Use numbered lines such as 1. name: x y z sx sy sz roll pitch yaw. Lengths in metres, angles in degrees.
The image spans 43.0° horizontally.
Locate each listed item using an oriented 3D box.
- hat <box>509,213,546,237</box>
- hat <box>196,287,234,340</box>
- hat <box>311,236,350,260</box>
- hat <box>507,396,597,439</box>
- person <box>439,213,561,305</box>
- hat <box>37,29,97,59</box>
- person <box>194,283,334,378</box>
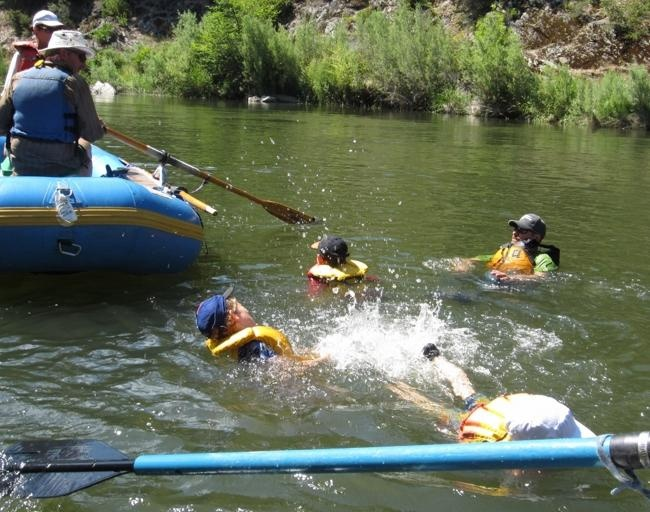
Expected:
1. hat: 2.314 -0.352 9.129 0.404 0.174 0.248 16 1 -17
2. hat: -0.922 0.498 6.969 0.317 0.400 0.221 -3 12 -17
3. hat: 0.053 -0.081 8.212 0.320 0.208 0.163 3 12 16
4. hat: 1.594 1.139 5.770 0.536 0.151 0.315 4 22 8
5. person: 1.908 -0.053 9.109 1.410 0.659 0.780 -3 11 -24
6. hat: -2.629 -2.152 8.356 0.542 0.297 0.515 -2 11 -14
7. person: -0.445 0.619 7.007 1.195 0.442 0.519 4 6 8
